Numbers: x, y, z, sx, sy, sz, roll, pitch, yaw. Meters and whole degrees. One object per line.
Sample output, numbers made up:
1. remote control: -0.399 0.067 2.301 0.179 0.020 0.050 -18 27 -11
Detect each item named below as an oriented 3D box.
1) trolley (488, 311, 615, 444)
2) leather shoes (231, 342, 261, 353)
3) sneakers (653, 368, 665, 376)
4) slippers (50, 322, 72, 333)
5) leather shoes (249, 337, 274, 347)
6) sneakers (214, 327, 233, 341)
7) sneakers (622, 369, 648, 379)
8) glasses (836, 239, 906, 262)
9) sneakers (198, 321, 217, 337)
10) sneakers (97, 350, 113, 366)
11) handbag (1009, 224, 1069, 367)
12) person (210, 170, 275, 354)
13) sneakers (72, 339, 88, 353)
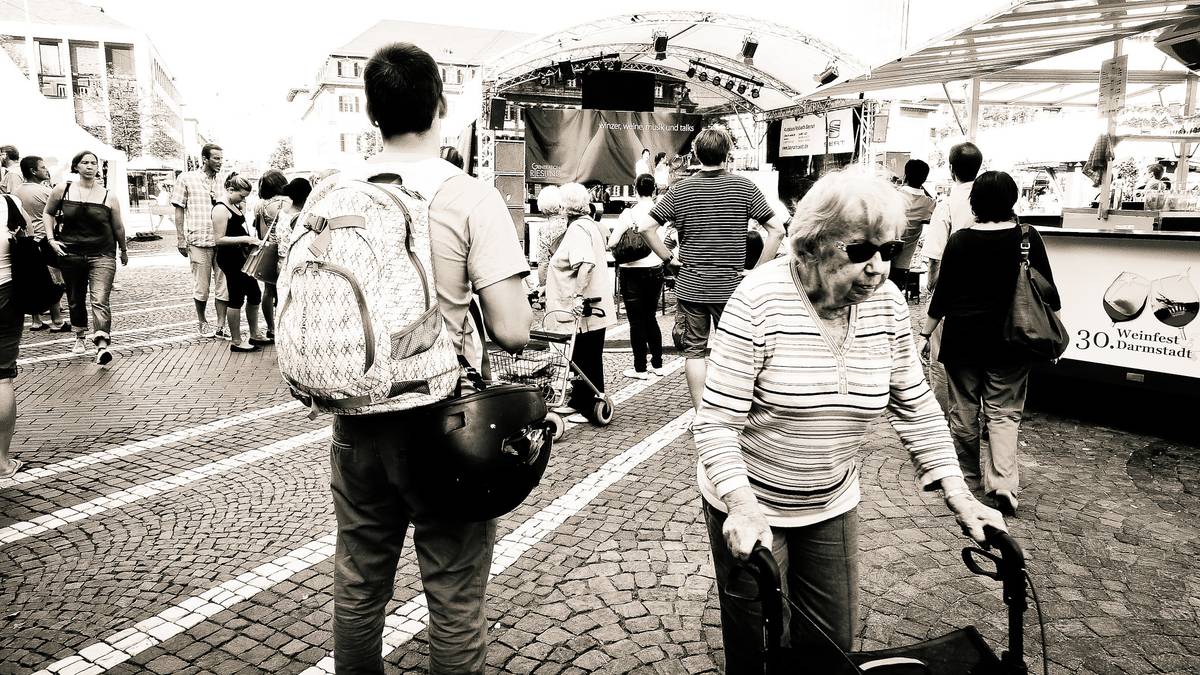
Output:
1. trolley: -0.716 0.498 10.490 0.925 1.448 1.530 -8 5 39
2. leather shoes: -5.446 0.153 13.539 0.423 0.157 0.149 -1 9 -21
3. sneakers: 0.806 0.490 12.358 0.100 0.101 0.264 -3 -2 -4
4. slippers: -8.923 -0.167 14.549 0.469 0.186 0.195 -3 6 -4
5. leather shoes: -5.327 0.075 13.793 0.408 0.149 0.140 -4 5 -17
6. sneakers: -6.084 -0.053 14.282 0.187 0.189 0.420 25 6 6
7. sneakers: 0.487 0.506 12.380 0.363 0.140 0.132 12 37 28
8. glasses: 1.992 -0.635 6.432 0.489 0.157 0.092 -5 14 -11
9. sneakers: -6.424 -0.129 14.376 0.264 0.150 0.255 -1 10 -7
10. sneakers: -7.075 0.294 12.518 0.213 0.191 0.256 -4 1 -11
11. handbag: 4.324 -0.408 8.704 0.538 1.327 0.484 5 16 26
12. person: -5.527 -1.111 13.572 1.168 3.385 1.150 -4 45 -20
13. sneakers: -7.796 0.122 13.165 0.142 0.157 0.410 -11 12 -35
